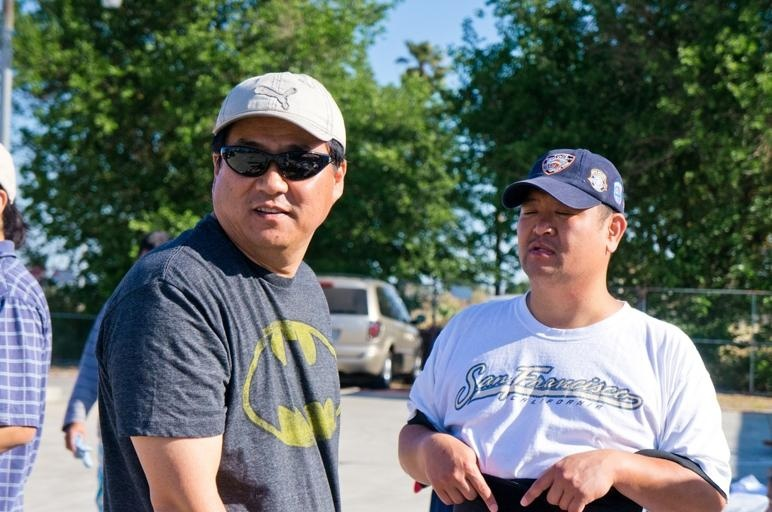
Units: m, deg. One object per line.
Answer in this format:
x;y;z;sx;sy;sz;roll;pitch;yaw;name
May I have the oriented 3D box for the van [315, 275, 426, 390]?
-0.194;1.076;18.122;1.022;0.959;2.319;0;2;18;van
